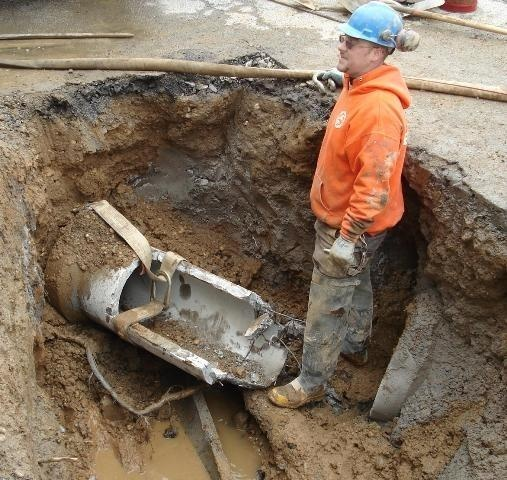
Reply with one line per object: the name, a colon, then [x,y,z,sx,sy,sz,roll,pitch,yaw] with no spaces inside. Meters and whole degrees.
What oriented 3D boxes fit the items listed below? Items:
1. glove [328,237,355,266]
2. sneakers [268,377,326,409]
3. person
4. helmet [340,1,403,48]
glove: [0.450,0.064,2.793,0.115,0.131,0.151,40,3,3]
sneakers: [0.253,0.961,3.369,0.354,0.150,0.167,-11,51,-10]
person: [0.542,-0.026,2.996,0.570,2.238,0.858,11,37,4]
helmet: [0.606,-1.024,2.677,0.261,0.130,0.207,12,40,-22]
